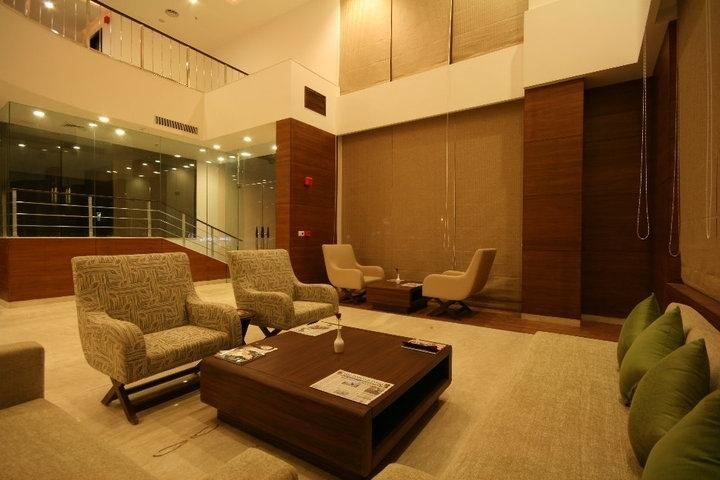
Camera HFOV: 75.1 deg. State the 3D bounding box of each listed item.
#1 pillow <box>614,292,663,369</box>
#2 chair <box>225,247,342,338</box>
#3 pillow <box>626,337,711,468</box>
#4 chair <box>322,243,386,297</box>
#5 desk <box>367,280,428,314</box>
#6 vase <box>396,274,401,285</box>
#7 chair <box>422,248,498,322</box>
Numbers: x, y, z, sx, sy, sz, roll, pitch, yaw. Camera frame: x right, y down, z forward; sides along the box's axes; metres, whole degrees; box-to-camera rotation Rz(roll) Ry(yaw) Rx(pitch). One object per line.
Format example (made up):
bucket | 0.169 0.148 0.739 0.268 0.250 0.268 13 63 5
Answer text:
pillow | 3.066 0.972 5.146 0.307 0.784 0.705 33 4 20
chair | -1.132 0.683 6.810 1.306 1.253 1.292 -4 -3 33
pillow | 2.640 1.396 3.979 0.461 0.724 0.917 -5 -15 9
chair | -0.113 0.573 9.343 0.988 0.998 1.019 2 3 40
desk | 0.638 0.983 8.423 0.634 0.324 0.644 0 3 33
vase | 0.724 0.729 8.869 0.138 0.142 0.142 0 3 9
chair | 1.742 0.697 8.193 1.081 1.115 0.859 1 1 35
